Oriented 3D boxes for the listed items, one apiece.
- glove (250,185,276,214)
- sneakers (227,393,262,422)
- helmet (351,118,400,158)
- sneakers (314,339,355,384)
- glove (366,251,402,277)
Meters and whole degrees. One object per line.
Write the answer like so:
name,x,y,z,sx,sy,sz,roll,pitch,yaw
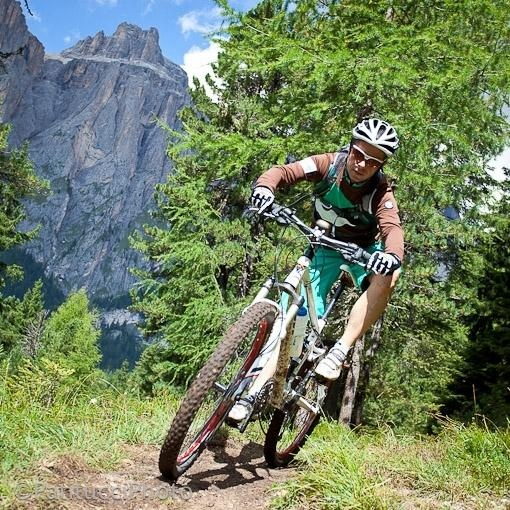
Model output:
glove,0.060,-0.426,3.927,0.180,0.250,0.168,11,-9,-1
sneakers,-0.082,1.085,3.629,0.135,0.201,0.058,7,-51,21
helmet,1.011,-0.980,4.172,0.371,0.314,0.184,9,-9,6
sneakers,0.640,0.834,4.138,0.202,0.228,0.567,30,19,3
glove,0.992,0.064,3.761,0.239,0.169,0.103,17,17,-6
